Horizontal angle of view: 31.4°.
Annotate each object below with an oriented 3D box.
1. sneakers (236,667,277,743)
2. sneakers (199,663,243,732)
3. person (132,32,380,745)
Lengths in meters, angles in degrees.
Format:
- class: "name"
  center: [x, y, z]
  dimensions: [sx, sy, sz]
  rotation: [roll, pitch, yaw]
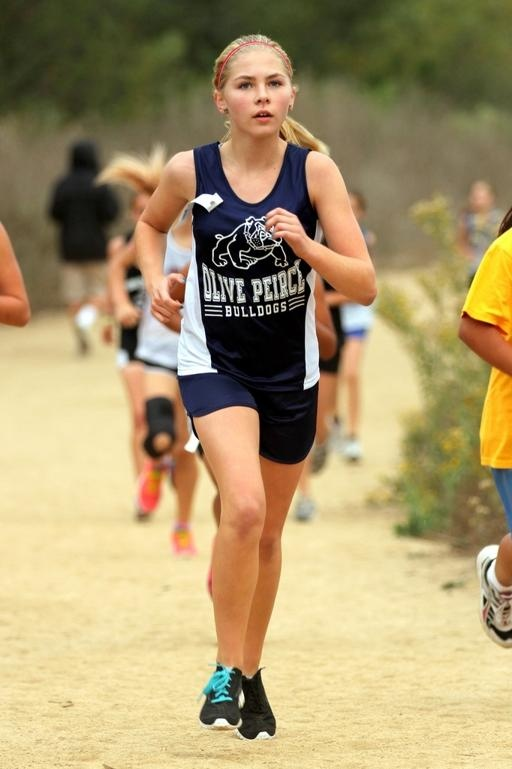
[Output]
- class: "sneakers"
  center: [-0.006, 0.806, 2.245]
  dimensions: [0.069, 0.072, 0.181]
  rotation: [-2, 2, -7]
- class: "sneakers"
  center: [-0.064, 0.707, 2.058]
  dimensions: [0.078, 0.077, 0.191]
  rotation: [3, 6, 4]
- class: "person"
  center: [0.021, 0.014, 2.176]
  dimensions: [0.457, 1.736, 0.620]
  rotation: [-2, 3, -23]
